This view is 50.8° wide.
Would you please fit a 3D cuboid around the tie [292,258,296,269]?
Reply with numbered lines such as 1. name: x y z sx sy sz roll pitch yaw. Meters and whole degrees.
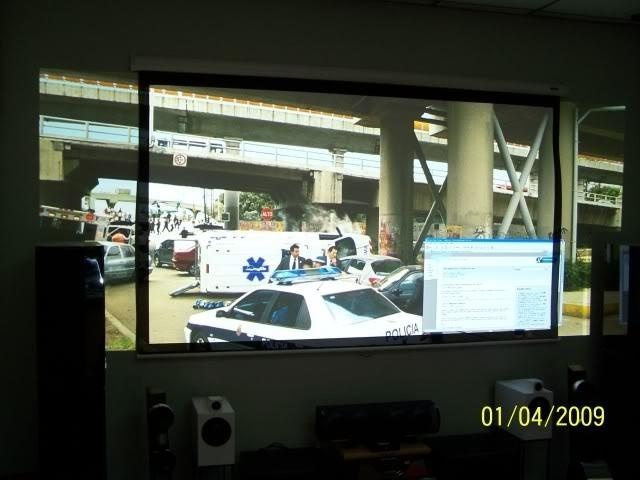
1. tie: -0.197 0.191 5.054 0.042 0.072 0.012 3 -3 -15

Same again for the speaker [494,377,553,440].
1. speaker: 1.555 1.301 5.215 0.240 0.437 0.442 3 -2 -28

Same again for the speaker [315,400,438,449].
1. speaker: 0.389 1.343 4.904 0.801 0.290 0.307 -1 9 -9

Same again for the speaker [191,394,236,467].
1. speaker: -0.764 1.370 4.787 0.290 0.471 0.323 3 -2 -14
